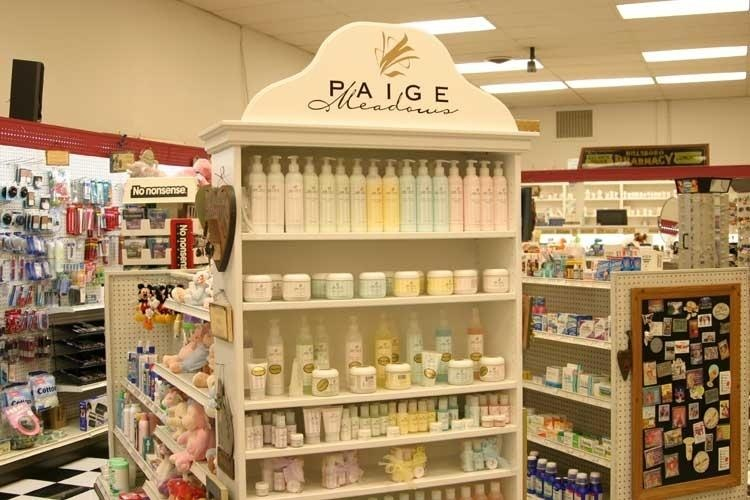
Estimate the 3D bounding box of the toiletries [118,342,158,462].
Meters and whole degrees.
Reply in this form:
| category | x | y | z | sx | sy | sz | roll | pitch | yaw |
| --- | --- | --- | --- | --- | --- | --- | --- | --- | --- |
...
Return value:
| category | x | y | z | sx | sy | sz | roll | pitch | yaw |
| --- | --- | --- | --- | --- | --- | --- | --- | --- | --- |
| toiletries | -2.147 | 1.396 | 6.028 | 0.288 | 1.027 | 0.560 | -1 | 1 | -24 |

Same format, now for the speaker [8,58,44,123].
| category | x | y | z | sx | sy | sz | roll | pitch | yaw |
| --- | --- | --- | --- | --- | --- | --- | --- | --- | --- |
| speaker | -4.003 | -1.836 | 7.568 | 0.346 | 0.716 | 0.253 | -1 | 2 | -28 |

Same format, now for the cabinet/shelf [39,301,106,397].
| category | x | y | z | sx | sy | sz | roll | pitch | yaw |
| --- | --- | --- | --- | --- | --- | --- | --- | --- | --- |
| cabinet/shelf | -3.630 | 1.204 | 8.042 | 0.644 | 0.927 | 0.426 | -1 | 2 | -30 |
